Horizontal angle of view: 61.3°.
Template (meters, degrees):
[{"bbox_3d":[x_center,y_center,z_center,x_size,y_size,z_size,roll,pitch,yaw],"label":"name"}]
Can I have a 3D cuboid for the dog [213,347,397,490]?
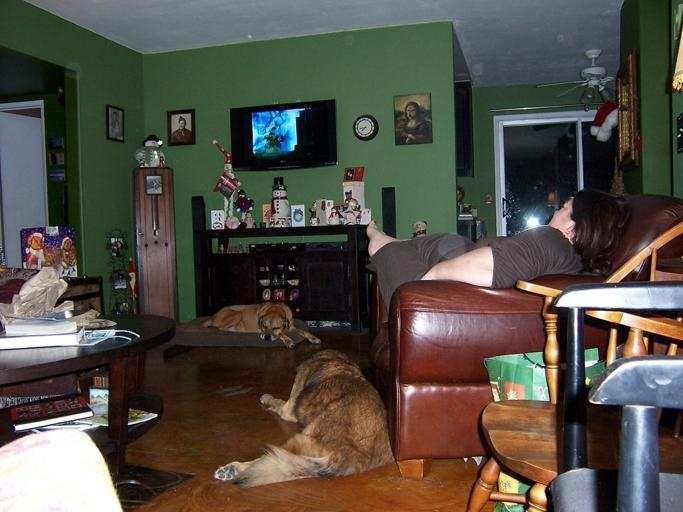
[{"bbox_3d":[-0.075,0.721,2.616,0.622,0.435,0.657,0,6,5],"label":"dog"}]

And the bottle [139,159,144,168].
[{"bbox_3d":[-2.075,-0.944,5.932,0.071,0.070,0.073,1,0,-3],"label":"bottle"}]

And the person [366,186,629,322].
[{"bbox_3d":[0.563,-0.013,2.560,1.163,0.662,0.502,14,0,29],"label":"person"}]

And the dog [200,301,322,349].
[{"bbox_3d":[-0.746,0.564,5.012,0.818,0.267,0.442,6,7,35],"label":"dog"}]

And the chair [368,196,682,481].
[{"bbox_3d":[0.793,0.279,2.679,1.038,1.075,1.063,1,0,11],"label":"chair"}]

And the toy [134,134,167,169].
[{"bbox_3d":[-1.969,-1.062,5.899,0.269,0.339,0.258,-3,7,-20],"label":"toy"}]

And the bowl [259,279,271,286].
[{"bbox_3d":[-0.756,0.267,5.699,0.062,0.054,0.081,1,-3,-23],"label":"bowl"}]

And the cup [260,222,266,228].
[{"bbox_3d":[-0.803,-0.311,5.895,0.080,0.079,0.044,-1,-5,14],"label":"cup"}]

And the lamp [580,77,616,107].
[{"bbox_3d":[3.065,-1.949,6.868,0.450,0.141,0.468,11,50,28],"label":"lamp"}]

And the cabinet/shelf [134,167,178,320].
[{"bbox_3d":[-1.902,-0.098,5.892,0.394,1.580,0.256,-3,7,-21],"label":"cabinet/shelf"}]

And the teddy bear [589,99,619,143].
[{"bbox_3d":[2.896,-1.438,6.480,0.212,0.553,0.329,-9,48,-2],"label":"teddy bear"}]
